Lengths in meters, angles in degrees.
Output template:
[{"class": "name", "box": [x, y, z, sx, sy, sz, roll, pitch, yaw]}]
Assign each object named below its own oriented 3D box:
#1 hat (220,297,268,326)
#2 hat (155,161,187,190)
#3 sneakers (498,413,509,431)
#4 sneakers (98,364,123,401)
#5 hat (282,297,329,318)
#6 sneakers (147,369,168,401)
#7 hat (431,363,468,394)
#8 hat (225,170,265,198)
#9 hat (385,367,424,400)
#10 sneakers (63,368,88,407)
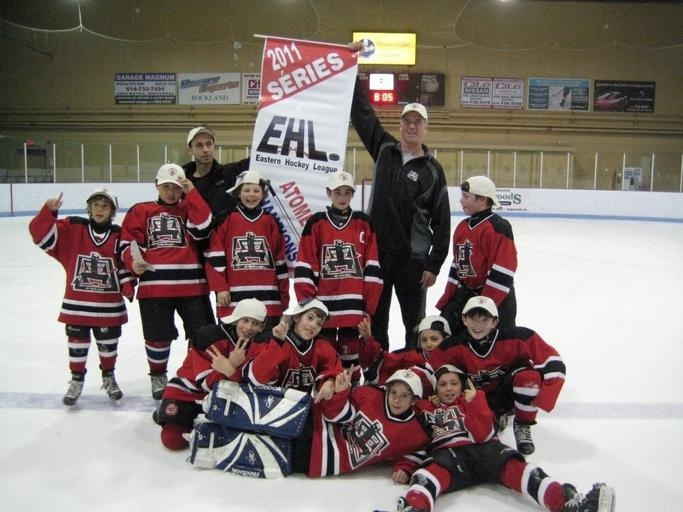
[{"class": "hat", "box": [-0.739, 0.424, 4.986, 0.274, 0.152, 0.182, 2, -1, -3]}, {"class": "hat", "box": [-1.439, -0.698, 5.550, 0.175, 0.152, 0.257, 5, 2, -20]}, {"class": "sneakers", "box": [1.323, 1.352, 5.296, 0.084, 0.148, 0.090, -2, -17, 7]}, {"class": "sneakers", "box": [-1.977, 1.078, 5.640, 0.119, 0.159, 0.328, -11, 40, -41]}, {"class": "hat", "box": [-0.283, 0.390, 5.015, 0.276, 0.096, 0.212, -1, -4, 20]}, {"class": "sneakers", "box": [-1.577, 1.113, 5.583, 0.119, 0.162, 0.361, 2, -3, -20]}, {"class": "hat", "box": [0.856, 0.947, 5.051, 0.197, 0.169, 0.204, -4, -13, 29]}, {"class": "hat", "box": [-0.814, -0.627, 5.583, 0.277, 0.156, 0.192, -6, -9, -13]}, {"class": "hat", "box": [0.490, 0.894, 4.866, 0.180, 0.266, 0.256, 5, 38, 31]}, {"class": "sneakers", "box": [-2.248, 1.111, 5.503, 0.085, 0.199, 0.277, 13, 17, 4]}]
